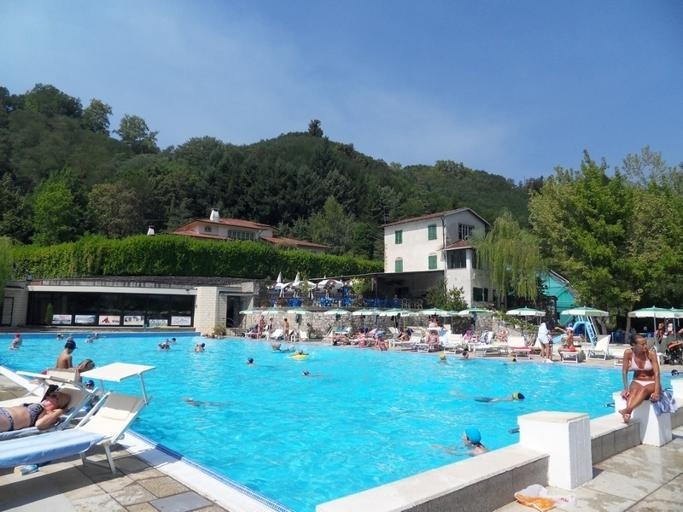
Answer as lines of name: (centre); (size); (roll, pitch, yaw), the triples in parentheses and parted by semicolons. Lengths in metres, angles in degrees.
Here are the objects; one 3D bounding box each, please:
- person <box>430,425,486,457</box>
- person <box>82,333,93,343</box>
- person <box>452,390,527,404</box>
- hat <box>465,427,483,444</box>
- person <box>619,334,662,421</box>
person: (3.079, 4.693, 12.589); (1.024, 0.578, 0.730); (-5, -14, 23)
person: (-17.345, 5.571, 34.091); (0.388, 0.731, 0.268); (8, -35, -25)
person: (5.128, 4.804, 17.314); (2.410, 0.284, 1.127); (-1, 2, 19)
hat: (3.295, 4.455, 12.376); (0.399, 0.339, 0.351); (-2, 2, -1)
person: (6.471, 2.596, 10.845); (0.765, 1.653, 1.805); (-7, 0, 45)
